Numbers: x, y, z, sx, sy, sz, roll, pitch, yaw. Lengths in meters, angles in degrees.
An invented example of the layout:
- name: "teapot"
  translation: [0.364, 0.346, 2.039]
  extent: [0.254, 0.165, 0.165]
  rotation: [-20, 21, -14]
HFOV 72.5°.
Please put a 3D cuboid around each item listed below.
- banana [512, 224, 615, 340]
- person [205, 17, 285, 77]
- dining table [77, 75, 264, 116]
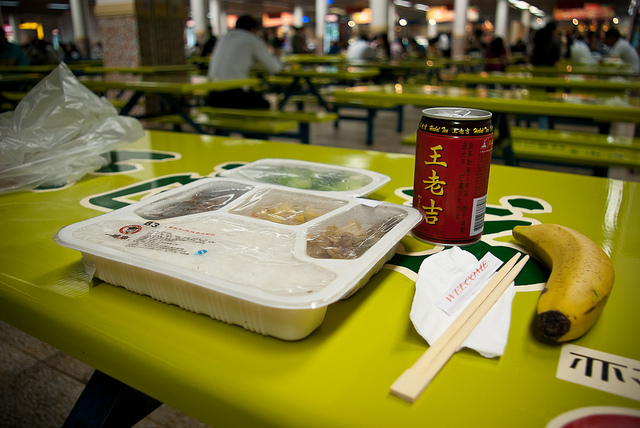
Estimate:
- name: "banana"
  translation: [0.384, 0.088, 0.691]
  extent: [0.129, 0.070, 0.257]
  rotation: [-3, 28, 19]
- name: "person"
  translation: [-0.711, -1.670, 4.349]
  extent: [0.605, 0.599, 0.950]
  rotation: [5, 19, 7]
- name: "dining table"
  translation: [-1.001, -0.794, 2.952]
  extent: [1.018, 0.281, 1.290]
  rotation: [-7, 20, -26]
